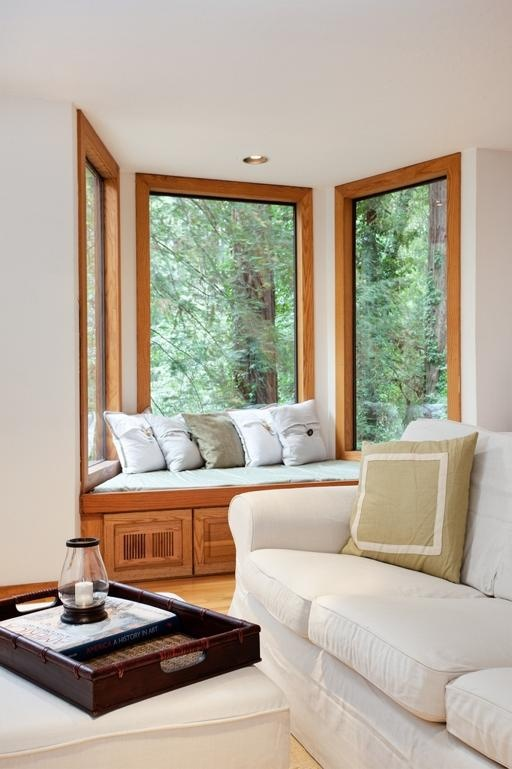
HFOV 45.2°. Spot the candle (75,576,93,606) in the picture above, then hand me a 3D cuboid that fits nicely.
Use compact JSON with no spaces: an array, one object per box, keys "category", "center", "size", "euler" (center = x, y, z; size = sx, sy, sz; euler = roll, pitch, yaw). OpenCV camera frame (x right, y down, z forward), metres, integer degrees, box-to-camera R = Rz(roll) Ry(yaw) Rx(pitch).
[{"category":"candle","center":[-0.365,0.436,1.305],"size":[0.043,0.047,0.043],"euler":[3,4,37]}]

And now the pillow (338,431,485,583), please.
[{"category":"pillow","center":[0.525,0.414,2.014],"size":[0.142,0.396,0.404],"euler":[30,-23,-32]}]
